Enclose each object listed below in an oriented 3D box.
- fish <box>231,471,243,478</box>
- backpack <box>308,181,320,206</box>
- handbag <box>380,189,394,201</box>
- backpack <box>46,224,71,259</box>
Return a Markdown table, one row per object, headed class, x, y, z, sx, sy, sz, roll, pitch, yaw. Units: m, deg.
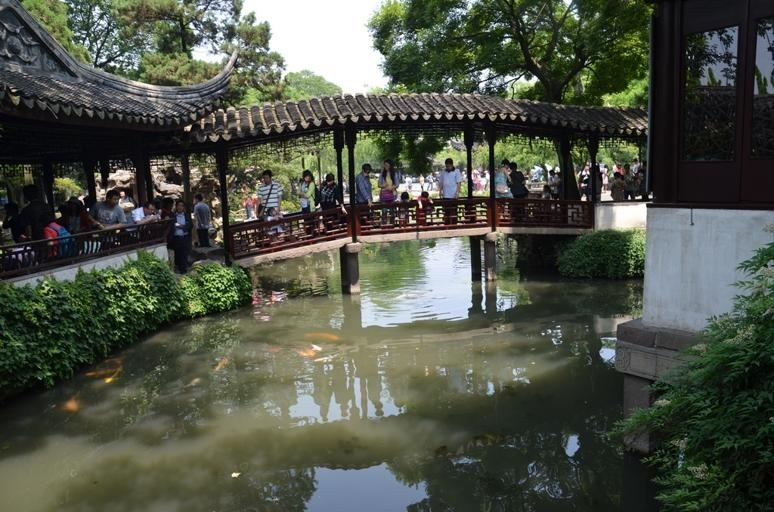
| class | x | y | z | sx | sy | sz | roll | pitch | yaw |
| --- | --- | --- | --- | --- | --- | --- | --- | --- | --- |
| fish | -2.095 | 3.064 | 8.491 | 0.147 | 0.036 | 0.112 | -3 | 9 | -4 |
| backpack | -1.906 | -1.587 | 15.824 | 0.319 | 0.651 | 0.435 | -8 | 25 | -1 |
| handbag | 0.000 | -1.552 | 16.328 | 0.416 | 0.442 | 0.254 | -1 | -1 | -12 |
| backpack | -6.032 | -0.282 | 11.235 | 0.401 | 0.582 | 1.067 | -7 | 10 | -29 |
